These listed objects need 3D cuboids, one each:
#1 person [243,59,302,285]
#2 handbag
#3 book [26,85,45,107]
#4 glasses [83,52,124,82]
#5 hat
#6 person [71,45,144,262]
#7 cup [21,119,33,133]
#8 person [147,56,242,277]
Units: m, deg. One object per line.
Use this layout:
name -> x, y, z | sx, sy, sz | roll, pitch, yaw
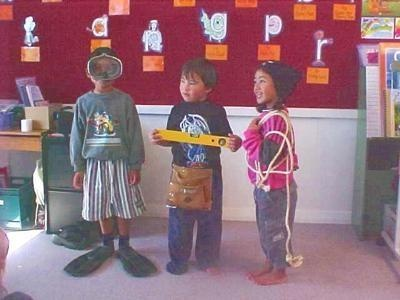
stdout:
person -> 0.474, 0.167, 2.453 | 0.379, 1.454, 0.407 | 1, 10, 14
handbag -> -0.056, 0.242, 2.507 | 0.423, 0.411, 0.166 | 3, -5, 7
book -> -1.413, -0.466, 3.231 | 0.052, 0.194, 0.143 | -10, 5, 29
glasses -> -0.680, -0.589, 2.675 | 0.228, 0.195, 0.105 | -5, 10, -21
hat -> 0.516, -0.457, 2.377 | 0.257, 0.198, 0.192 | 26, 0, 23
person -> -0.708, 0.015, 2.766 | 0.561, 1.507, 0.271 | 2, 10, 18
cup -> -1.416, -0.199, 3.077 | 0.092, 0.105, 0.092 | 1, 10, 0
person -> -0.010, 0.117, 2.592 | 0.586, 1.452, 0.270 | 0, 9, 6
